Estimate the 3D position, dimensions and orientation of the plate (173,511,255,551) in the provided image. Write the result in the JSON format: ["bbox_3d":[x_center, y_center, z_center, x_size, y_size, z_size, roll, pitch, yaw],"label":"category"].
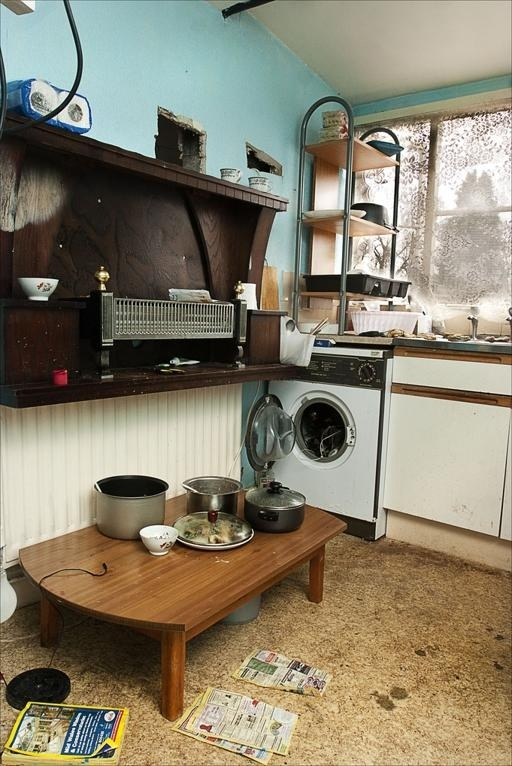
[{"bbox_3d":[-0.127,0.435,1.649,0.266,0.091,0.300,4,8,-8],"label":"plate"}]

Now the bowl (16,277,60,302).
[{"bbox_3d":[-0.568,-0.246,1.456,0.081,0.050,0.082,1,11,0],"label":"bowl"}]

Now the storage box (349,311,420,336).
[{"bbox_3d":[0.628,-0.296,2.782,0.309,0.111,0.122,4,4,14],"label":"storage box"}]

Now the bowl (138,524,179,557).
[{"bbox_3d":[-0.267,0.421,1.534,0.079,0.048,0.079,1,-4,0],"label":"bowl"}]

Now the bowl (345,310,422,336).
[{"bbox_3d":[0.634,-0.287,2.816,0.320,0.124,0.437,13,6,23],"label":"bowl"}]

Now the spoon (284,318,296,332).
[{"bbox_3d":[0.149,-0.252,2.480,0.043,0.058,0.049,4,19,8],"label":"spoon"}]

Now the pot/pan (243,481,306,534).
[{"bbox_3d":[0.065,0.391,1.822,0.136,0.106,0.181,7,9,40],"label":"pot/pan"}]

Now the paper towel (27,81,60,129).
[{"bbox_3d":[-0.533,-0.697,1.401,0.028,0.096,0.111,4,4,12],"label":"paper towel"}]

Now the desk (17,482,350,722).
[{"bbox_3d":[-0.245,0.599,1.625,0.625,0.277,0.803,6,5,31],"label":"desk"}]

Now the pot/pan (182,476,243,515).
[{"bbox_3d":[-0.139,0.367,1.864,0.137,0.064,0.136,-4,9,-39],"label":"pot/pan"}]

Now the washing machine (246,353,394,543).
[{"bbox_3d":[0.371,0.225,2.754,0.647,0.771,0.628,8,9,20],"label":"washing machine"}]

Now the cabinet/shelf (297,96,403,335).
[{"bbox_3d":[0.509,-0.798,3.095,0.276,1.275,0.569,6,6,39],"label":"cabinet/shelf"}]
